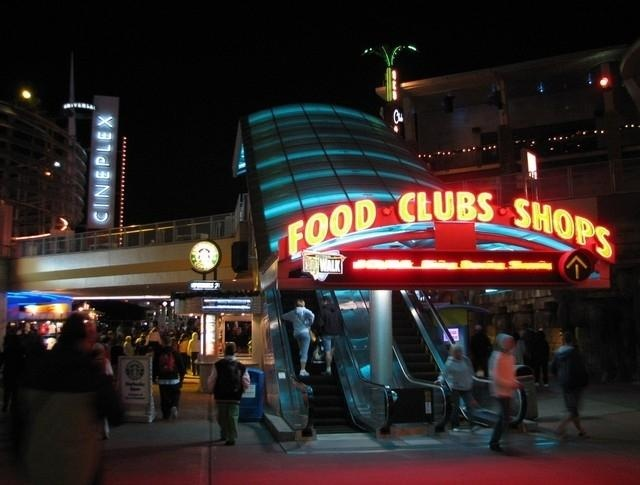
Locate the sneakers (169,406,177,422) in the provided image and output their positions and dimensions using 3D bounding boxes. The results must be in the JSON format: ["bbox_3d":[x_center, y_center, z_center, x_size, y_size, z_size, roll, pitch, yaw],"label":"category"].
[{"bbox_3d":[-3.270,3.870,12.760,0.115,0.299,0.222,4,2,6],"label":"sneakers"}]

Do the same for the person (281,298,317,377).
[{"bbox_3d":[-0.512,2.365,14.228,0.707,1.852,1.268,-2,-8,-3],"label":"person"}]

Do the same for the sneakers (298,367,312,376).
[{"bbox_3d":[-0.359,3.125,13.658,0.118,0.135,0.346,0,1,26],"label":"sneakers"}]

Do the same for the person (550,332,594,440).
[{"bbox_3d":[4.845,2.772,11.080,0.439,1.988,0.641,2,-9,-29],"label":"person"}]

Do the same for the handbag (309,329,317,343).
[{"bbox_3d":[-0.173,2.348,14.151,0.058,0.218,0.234,-3,2,-35],"label":"handbag"}]
